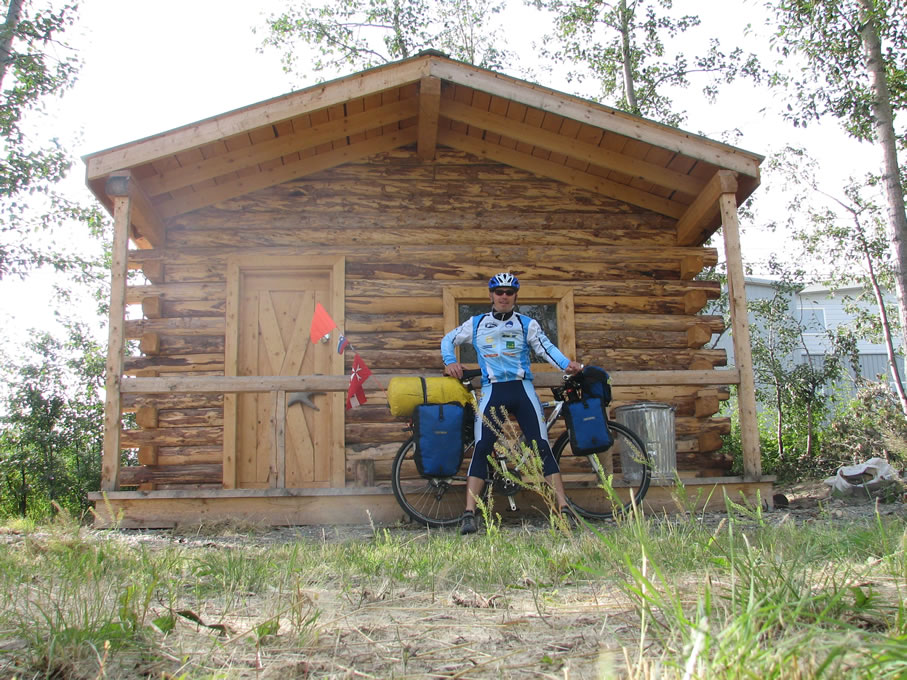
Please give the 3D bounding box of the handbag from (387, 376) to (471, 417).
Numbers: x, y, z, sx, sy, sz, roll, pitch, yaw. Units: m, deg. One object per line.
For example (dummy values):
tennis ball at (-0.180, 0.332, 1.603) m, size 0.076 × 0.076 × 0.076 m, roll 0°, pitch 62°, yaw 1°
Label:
handbag at (-0.246, 0.559, 8.177) m, size 0.778 × 0.265 × 0.388 m, roll 1°, pitch -4°, yaw -12°

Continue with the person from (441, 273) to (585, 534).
person at (0.540, 0.508, 7.767) m, size 1.247 × 2.503 × 1.267 m, roll -2°, pitch -11°, yaw 0°

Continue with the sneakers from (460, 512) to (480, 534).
sneakers at (0.136, 1.635, 7.395) m, size 0.161 × 0.182 × 0.255 m, roll -2°, pitch -9°, yaw 0°

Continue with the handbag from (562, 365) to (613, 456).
handbag at (1.316, 0.700, 8.022) m, size 0.672 × 0.772 × 0.355 m, roll -1°, pitch -12°, yaw -7°

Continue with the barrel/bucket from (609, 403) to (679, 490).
barrel/bucket at (1.912, 1.066, 8.254) m, size 0.835 × 0.887 × 0.890 m, roll 1°, pitch -22°, yaw 0°

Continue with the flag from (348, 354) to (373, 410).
flag at (-1.028, 0.433, 8.985) m, size 0.272 × 0.620 × 0.590 m, roll -1°, pitch -10°, yaw -6°
